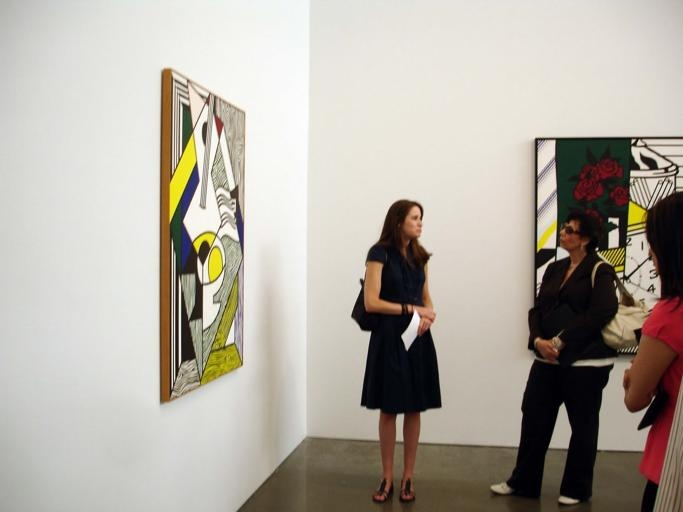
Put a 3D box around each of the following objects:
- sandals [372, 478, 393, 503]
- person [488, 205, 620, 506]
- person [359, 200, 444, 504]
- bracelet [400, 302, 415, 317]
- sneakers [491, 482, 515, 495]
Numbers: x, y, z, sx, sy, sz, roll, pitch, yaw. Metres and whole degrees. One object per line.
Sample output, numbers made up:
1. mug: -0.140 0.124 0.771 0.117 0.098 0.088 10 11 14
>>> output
1. sandals: 0.258 1.557 3.884 0.063 0.096 0.217 -4 -18 14
2. person: 1.472 0.665 3.936 0.657 1.907 0.364 1 3 29
3. person: 0.378 0.616 3.998 0.556 1.985 0.392 0 3 -4
4. bracelet: 0.433 0.358 3.883 0.079 0.073 0.046 0 3 6
5. sneakers: 1.099 1.589 4.043 0.112 0.059 0.072 3 3 14
